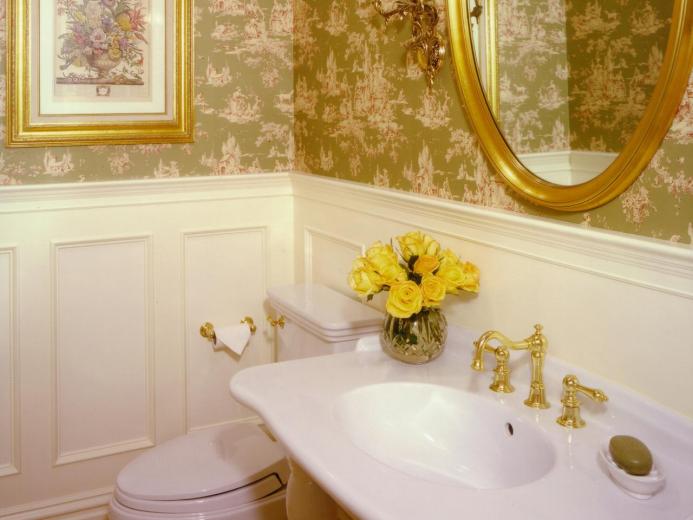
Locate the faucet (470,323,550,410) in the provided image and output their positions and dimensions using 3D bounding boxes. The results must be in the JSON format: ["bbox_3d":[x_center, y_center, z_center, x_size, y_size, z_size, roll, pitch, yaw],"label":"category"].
[{"bbox_3d":[0.418,0.254,1.383,0.157,0.245,0.158,-2,12,-22],"label":"faucet"}]

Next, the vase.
[{"bbox_3d":[0.202,0.221,1.636,0.149,0.170,0.163,-2,9,-16],"label":"vase"}]

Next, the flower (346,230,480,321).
[{"bbox_3d":[0.178,0.015,1.613,0.313,0.301,0.299,-4,14,-25],"label":"flower"}]

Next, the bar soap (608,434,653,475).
[{"bbox_3d":[0.545,0.373,1.049,0.073,0.058,0.086,-9,9,20],"label":"bar soap"}]
